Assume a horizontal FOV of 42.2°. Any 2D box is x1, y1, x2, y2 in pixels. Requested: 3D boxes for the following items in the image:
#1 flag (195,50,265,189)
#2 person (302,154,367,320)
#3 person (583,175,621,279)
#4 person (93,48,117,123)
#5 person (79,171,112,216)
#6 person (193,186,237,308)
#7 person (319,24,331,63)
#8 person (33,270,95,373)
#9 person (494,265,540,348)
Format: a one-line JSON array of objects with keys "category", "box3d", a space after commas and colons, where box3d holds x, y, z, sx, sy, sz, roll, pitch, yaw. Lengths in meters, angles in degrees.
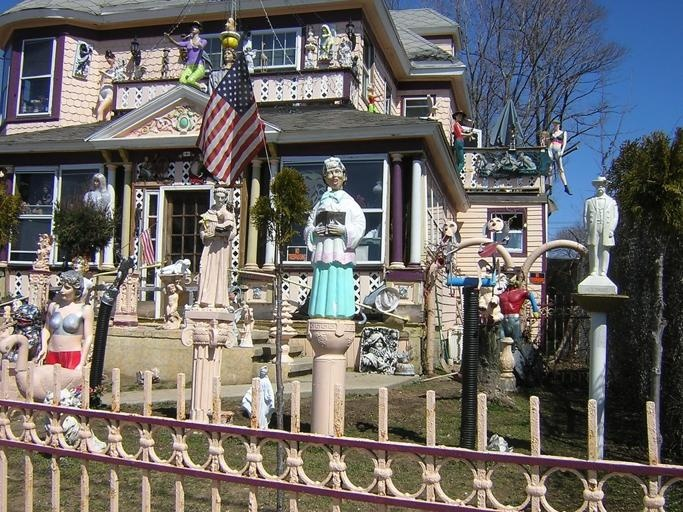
[{"category": "flag", "box3d": [-1.631, -2.069, 13.222, 0.955, 2.070, 0.475, -1, -5, 33]}, {"category": "person", "box3d": [-0.099, -0.277, 12.635, 0.827, 2.343, 0.554, 2, -4, -3]}, {"category": "person", "box3d": [3.737, -0.445, 12.735, 0.459, 1.452, 0.509, 1, -5, 16]}, {"category": "person", "box3d": [-6.672, -4.833, 25.042, 0.450, 2.130, 0.858, 5, -5, -30]}, {"category": "person", "box3d": [-5.823, -1.544, 21.176, 0.706, 1.131, 1.298, 3, -4, -15]}, {"category": "person", "box3d": [-1.815, -0.160, 12.814, 0.508, 1.808, 0.612, 3, -5, -10]}, {"category": "person", "box3d": [-0.405, -5.546, 23.101, 0.357, 1.069, 0.378, 2, -4, 3]}, {"category": "person", "box3d": [-3.872, 0.877, 12.472, 0.955, 1.358, 0.557, -1, -5, 34]}, {"category": "person", "box3d": [3.626, 1.125, 18.025, 0.827, 1.574, 2.392, 1, -4, 13]}]
